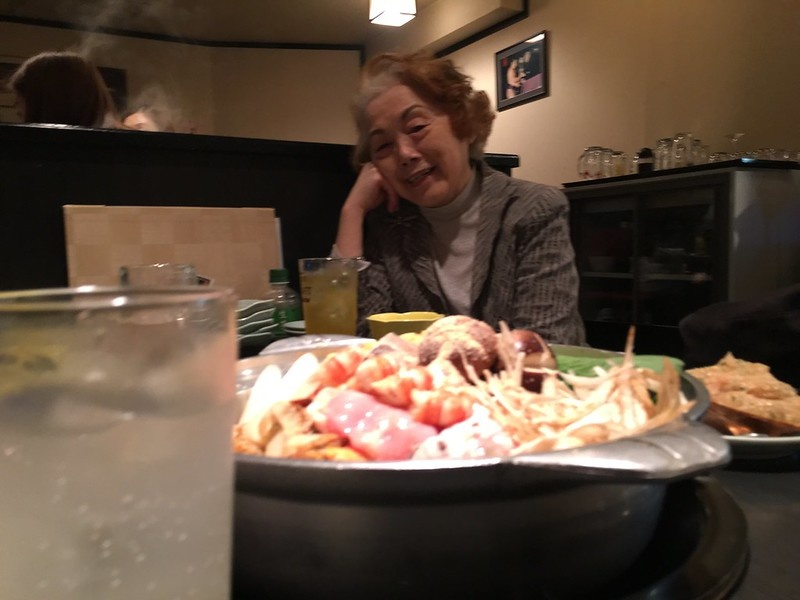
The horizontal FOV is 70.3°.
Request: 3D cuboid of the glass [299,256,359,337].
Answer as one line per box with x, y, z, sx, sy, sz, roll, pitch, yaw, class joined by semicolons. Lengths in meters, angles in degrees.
-0.127;-0.011;0.966;0.113;0.148;0.104;-1;20;-3;glass
